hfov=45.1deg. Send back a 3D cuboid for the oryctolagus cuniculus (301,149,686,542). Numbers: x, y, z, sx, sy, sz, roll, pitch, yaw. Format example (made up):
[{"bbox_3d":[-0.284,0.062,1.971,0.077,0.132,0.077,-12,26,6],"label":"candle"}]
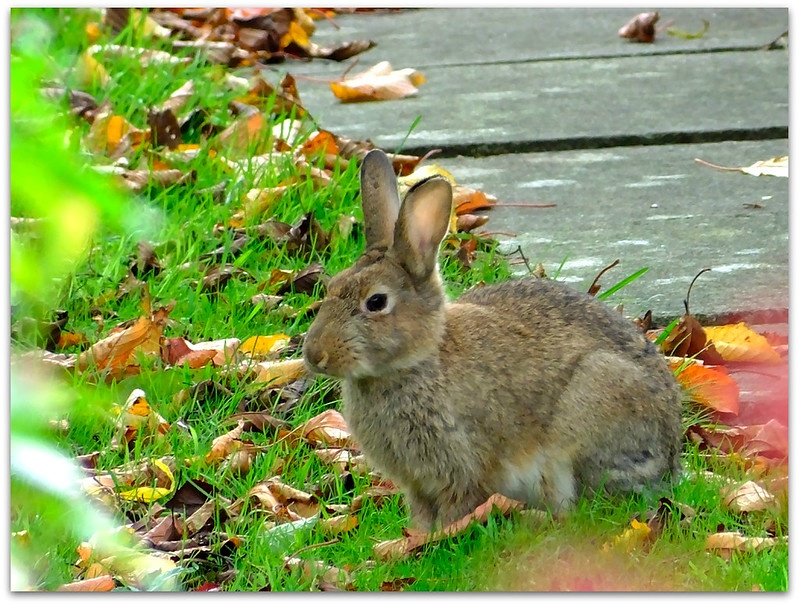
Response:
[{"bbox_3d":[0.285,0.124,3.267,1.416,1.151,0.825,-3,17,-34],"label":"oryctolagus cuniculus"}]
